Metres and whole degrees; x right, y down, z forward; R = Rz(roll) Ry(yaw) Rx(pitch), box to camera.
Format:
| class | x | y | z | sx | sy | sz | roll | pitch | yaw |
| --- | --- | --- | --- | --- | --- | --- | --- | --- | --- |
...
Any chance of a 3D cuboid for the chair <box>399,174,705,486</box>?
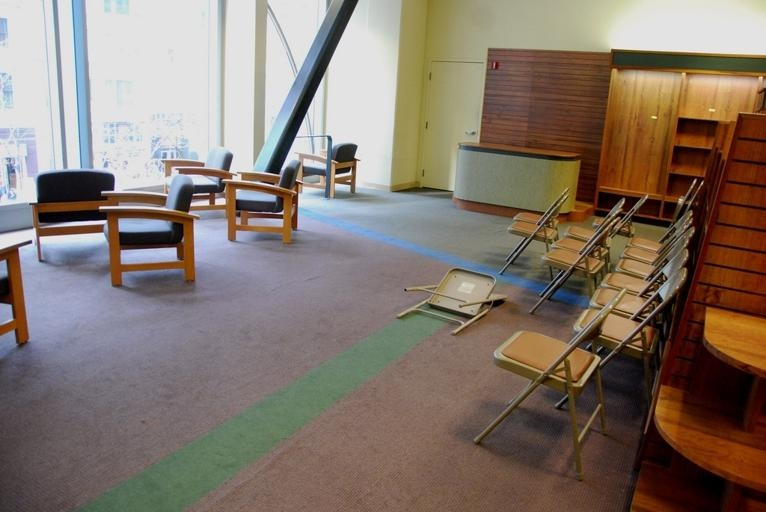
| class | x | y | z | sx | sy | sz | roll | pitch | yaw |
| --- | --- | --- | --- | --- | --- | --- | --- | --- | --- |
| chair | 1.477 | 0.504 | 4.333 | 1.855 | 2.622 | 1.429 | 15 | 28 | 30 |
